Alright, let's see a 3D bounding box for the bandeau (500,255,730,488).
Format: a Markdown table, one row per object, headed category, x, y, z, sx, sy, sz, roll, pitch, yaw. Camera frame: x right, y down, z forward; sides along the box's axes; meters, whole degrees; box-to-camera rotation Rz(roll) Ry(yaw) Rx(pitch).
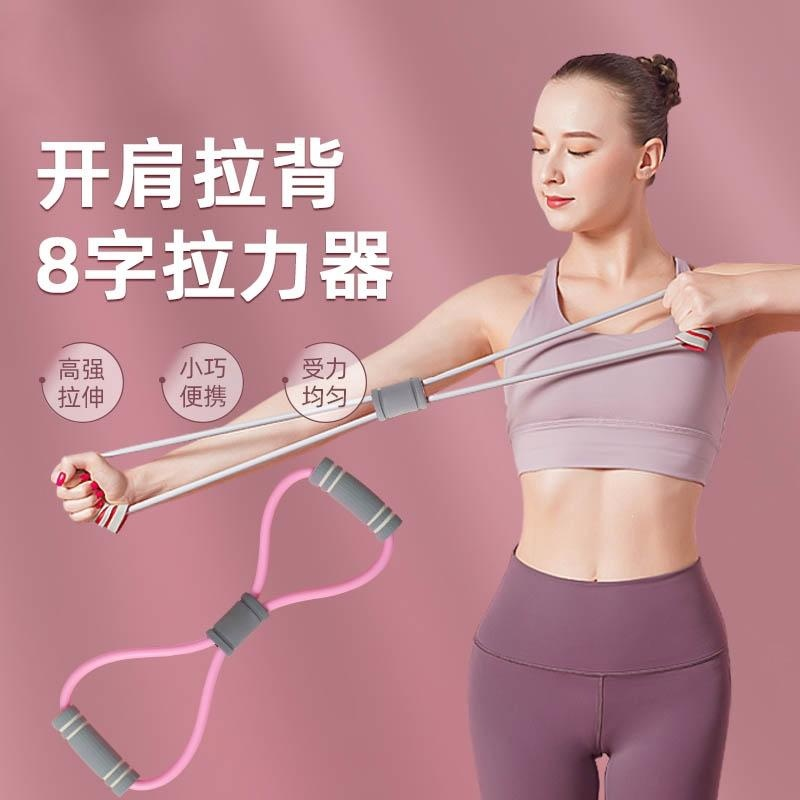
| category | x | y | z | sx | sy | sz | roll | pitch | yaw |
| --- | --- | --- | --- | --- | --- | --- | --- | --- | --- |
| bandeau | 0.248 | -0.067 | 1.426 | 0.508 | 0.373 | 0.252 | -1 | -13 | 7 |
